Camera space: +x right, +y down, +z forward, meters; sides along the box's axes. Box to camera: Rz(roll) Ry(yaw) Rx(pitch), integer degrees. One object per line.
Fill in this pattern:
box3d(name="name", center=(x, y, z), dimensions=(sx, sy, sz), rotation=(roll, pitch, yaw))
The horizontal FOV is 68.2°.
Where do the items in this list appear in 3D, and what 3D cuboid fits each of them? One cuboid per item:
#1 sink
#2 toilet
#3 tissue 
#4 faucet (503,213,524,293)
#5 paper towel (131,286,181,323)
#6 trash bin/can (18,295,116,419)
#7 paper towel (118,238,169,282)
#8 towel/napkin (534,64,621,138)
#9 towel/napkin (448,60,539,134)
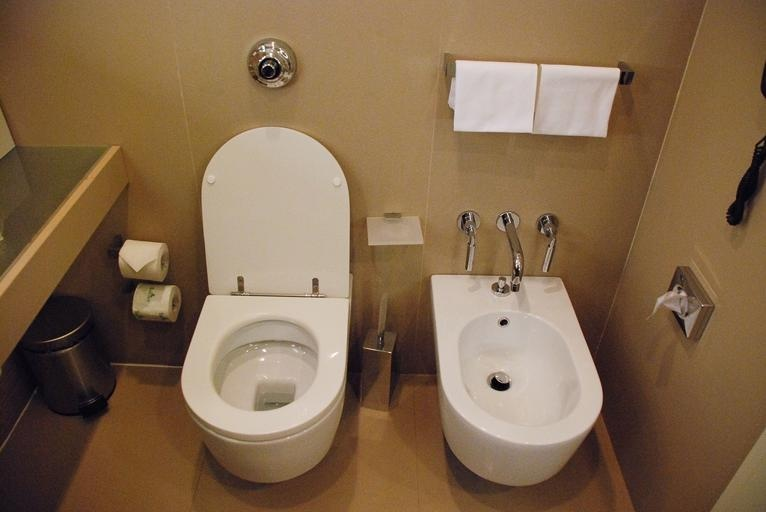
box3d(name="sink", center=(0.453, 0.444, 2.016), dimensions=(0.511, 0.421, 0.690), rotation=(-5, 45, -4))
box3d(name="toilet", center=(-0.381, 0.169, 1.826), dimensions=(0.517, 1.070, 0.528), rotation=(0, 22, 2))
box3d(name="tissue ", center=(0.919, 0.167, 1.725), dimensions=(0.121, 0.147, 0.139), rotation=(-7, -12, -45))
box3d(name="faucet", center=(0.455, -0.008, 1.976), dimensions=(0.079, 0.270, 0.097), rotation=(-1, 26, 3))
box3d(name="paper towel", center=(-0.840, 0.171, 2.083), dimensions=(0.156, 0.145, 0.137), rotation=(7, 13, 6))
box3d(name="trash bin/can", center=(-1.199, 0.378, 2.129), dimensions=(0.226, 0.371, 0.265), rotation=(-21, 55, -32))
box3d(name="paper towel", center=(-0.876, 0.018, 2.059), dimensions=(0.143, 0.140, 0.125), rotation=(4, 20, -7))
box3d(name="towel/napkin", center=(0.607, -0.494, 1.777), dimensions=(0.234, 0.217, 0.035), rotation=(2, 35, 0))
box3d(name="towel/napkin", center=(0.353, -0.501, 1.765), dimensions=(0.224, 0.175, 0.077), rotation=(1, 44, 1))
